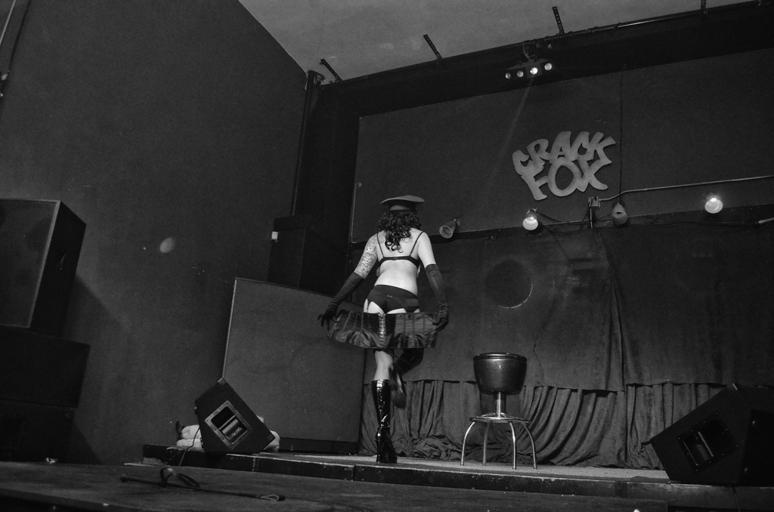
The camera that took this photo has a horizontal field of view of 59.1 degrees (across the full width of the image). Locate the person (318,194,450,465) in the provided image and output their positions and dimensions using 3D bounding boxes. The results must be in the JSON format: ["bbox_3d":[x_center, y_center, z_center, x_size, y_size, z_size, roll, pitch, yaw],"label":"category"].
[{"bbox_3d":[-0.053,0.612,6.291,0.999,2.400,1.332,5,-13,-8],"label":"person"}]

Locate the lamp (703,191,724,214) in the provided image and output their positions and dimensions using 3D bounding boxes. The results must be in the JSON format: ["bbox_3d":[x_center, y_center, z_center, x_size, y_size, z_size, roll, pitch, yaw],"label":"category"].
[{"bbox_3d":[3.360,-0.542,7.041,0.180,0.272,0.304,-3,-14,26],"label":"lamp"}]

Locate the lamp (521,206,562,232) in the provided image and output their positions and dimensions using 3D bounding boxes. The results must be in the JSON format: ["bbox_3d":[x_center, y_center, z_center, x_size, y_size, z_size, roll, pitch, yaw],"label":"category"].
[{"bbox_3d":[1.683,-0.408,7.687,0.376,0.211,0.241,0,1,-36],"label":"lamp"}]

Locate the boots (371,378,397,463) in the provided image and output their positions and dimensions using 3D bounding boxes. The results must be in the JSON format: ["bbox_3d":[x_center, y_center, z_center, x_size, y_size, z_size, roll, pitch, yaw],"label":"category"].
[{"bbox_3d":[0.044,1.383,5.732,0.272,0.666,0.168,0,-10,-5],"label":"boots"}]

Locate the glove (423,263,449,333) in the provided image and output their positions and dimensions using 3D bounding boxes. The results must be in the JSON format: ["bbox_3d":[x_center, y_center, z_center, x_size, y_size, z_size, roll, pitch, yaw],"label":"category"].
[{"bbox_3d":[0.424,0.362,5.979,0.203,0.613,0.383,2,-13,4],"label":"glove"}]

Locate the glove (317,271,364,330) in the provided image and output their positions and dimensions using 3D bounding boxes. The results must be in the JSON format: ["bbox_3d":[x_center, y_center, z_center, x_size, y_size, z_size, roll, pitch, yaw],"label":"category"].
[{"bbox_3d":[-0.486,0.459,6.848,0.184,0.606,0.241,43,-8,-35],"label":"glove"}]
